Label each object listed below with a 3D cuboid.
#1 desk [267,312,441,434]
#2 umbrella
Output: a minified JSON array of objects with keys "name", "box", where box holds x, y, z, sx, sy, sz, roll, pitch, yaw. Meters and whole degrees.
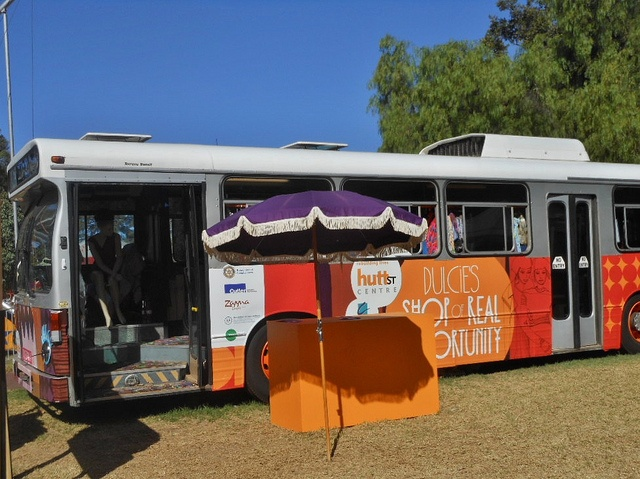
[{"name":"desk","box":[0.726,1.817,9.988,0.688,1.384,2.040,-21,11,-25]},{"name":"umbrella","box":[-0.015,0.841,9.107,2.987,3.088,3.035,-7,-2,-30]}]
